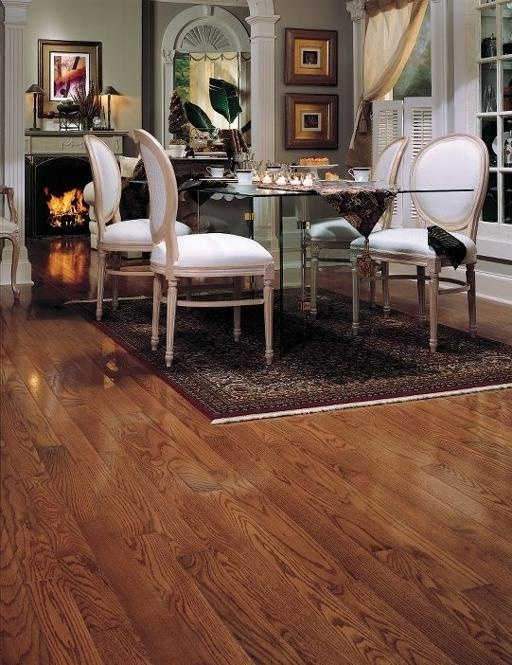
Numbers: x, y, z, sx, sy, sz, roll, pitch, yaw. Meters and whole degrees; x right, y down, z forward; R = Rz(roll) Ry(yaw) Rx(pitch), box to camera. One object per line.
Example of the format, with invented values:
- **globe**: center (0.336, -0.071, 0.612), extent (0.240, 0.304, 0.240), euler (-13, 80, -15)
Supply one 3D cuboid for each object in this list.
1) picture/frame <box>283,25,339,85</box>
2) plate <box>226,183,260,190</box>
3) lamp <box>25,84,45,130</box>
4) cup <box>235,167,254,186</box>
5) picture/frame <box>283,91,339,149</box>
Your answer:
- **picture/frame**: center (0.559, -2.960, 5.578), extent (0.682, 0.606, 0.049), euler (-2, 4, -23)
- **plate**: center (-0.071, -0.820, 2.957), extent (0.133, 0.035, 0.148), euler (0, 11, -1)
- **lamp**: center (-3.642, -3.715, 8.642), extent (0.263, 0.792, 0.312), euler (-3, 6, -23)
- **cup**: center (-0.073, -0.930, 3.150), extent (0.112, 0.114, 0.115), euler (1, 19, 0)
- **picture/frame**: center (0.570, -2.308, 5.656), extent (0.659, 0.673, 0.050), euler (-1, 5, -25)
